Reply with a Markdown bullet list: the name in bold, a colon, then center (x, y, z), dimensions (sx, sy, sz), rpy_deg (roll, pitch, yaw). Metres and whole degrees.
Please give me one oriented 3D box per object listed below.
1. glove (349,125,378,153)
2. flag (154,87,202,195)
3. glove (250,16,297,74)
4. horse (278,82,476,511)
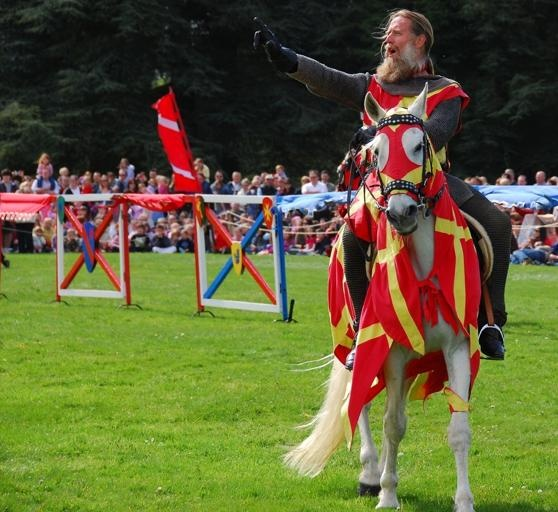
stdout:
- **glove**: center (1.095, -1.553, 19.503), dimensions (0.260, 0.362, 0.160), rpy_deg (26, 11, -13)
- **flag**: center (-1.873, -2.048, 26.910), dimensions (0.800, 1.890, 0.712), rpy_deg (3, 12, 14)
- **glove**: center (-0.062, -2.728, 19.608), dimensions (0.625, 0.723, 0.335), rpy_deg (-3, 12, -16)
- **horse**: center (1.748, 0.519, 19.145), dimensions (1.650, 5.278, 1.211), rpy_deg (2, 12, 8)
